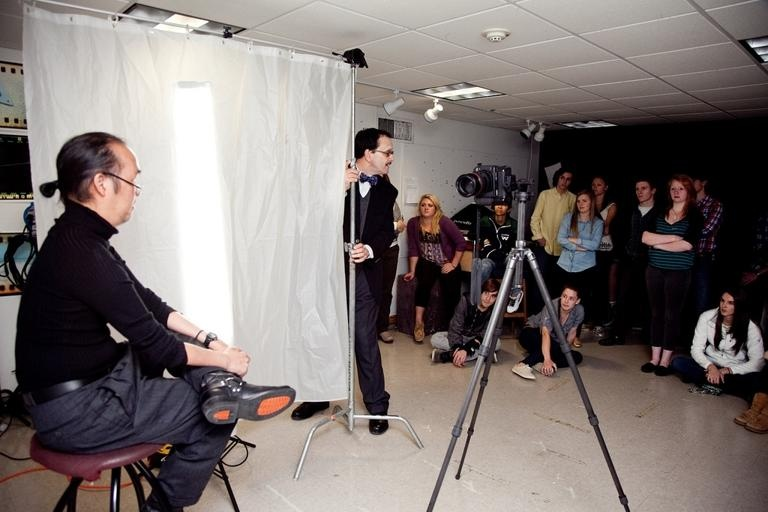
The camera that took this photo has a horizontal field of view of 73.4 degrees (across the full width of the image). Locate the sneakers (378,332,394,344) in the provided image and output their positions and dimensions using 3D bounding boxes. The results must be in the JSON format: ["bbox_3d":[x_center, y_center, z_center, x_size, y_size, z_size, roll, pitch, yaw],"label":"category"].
[{"bbox_3d":[0.032,0.937,5.882,0.095,0.075,0.188,-1,-1,-27],"label":"sneakers"}]

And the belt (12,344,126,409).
[{"bbox_3d":[-1.478,0.588,2.360,0.291,0.073,0.289,-20,14,14],"label":"belt"}]

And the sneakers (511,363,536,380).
[{"bbox_3d":[1.338,1.113,4.961,0.112,0.081,0.207,-3,3,-29],"label":"sneakers"}]

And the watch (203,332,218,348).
[{"bbox_3d":[-0.927,0.445,2.767,0.054,0.076,0.080,26,10,22],"label":"watch"}]

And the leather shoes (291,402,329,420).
[{"bbox_3d":[-0.601,1.237,4.143,0.325,0.127,0.111,7,-7,-43],"label":"leather shoes"}]

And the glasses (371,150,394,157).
[{"bbox_3d":[0.006,-0.721,3.585,0.168,0.050,0.073,-7,15,-33],"label":"glasses"}]

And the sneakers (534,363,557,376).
[{"bbox_3d":[1.567,1.106,5.068,0.087,0.102,0.260,7,6,-24],"label":"sneakers"}]
